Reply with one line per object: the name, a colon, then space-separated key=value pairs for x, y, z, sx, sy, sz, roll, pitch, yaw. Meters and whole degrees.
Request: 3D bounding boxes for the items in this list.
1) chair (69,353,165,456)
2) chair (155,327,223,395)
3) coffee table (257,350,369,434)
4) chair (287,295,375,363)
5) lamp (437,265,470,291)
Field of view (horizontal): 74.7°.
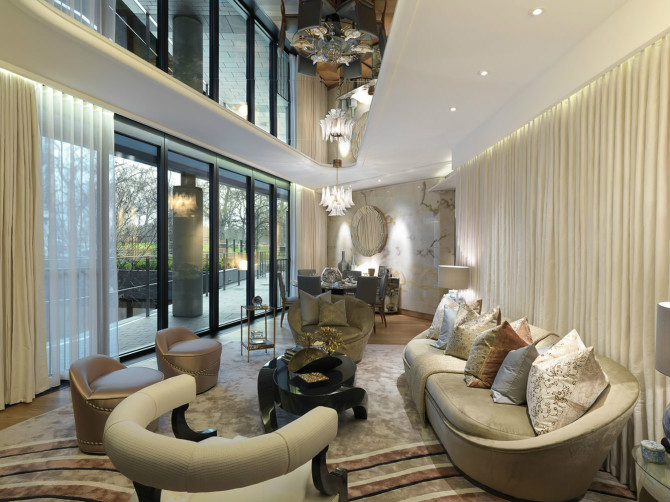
chair: x=-1.995 y=1.348 z=4.023 sx=0.751 sy=0.671 sz=0.781 roll=2 pitch=3 yaw=4
chair: x=-1.607 y=1.190 z=4.832 sx=0.673 sy=0.630 sz=0.625 roll=1 pitch=4 yaw=6
coffee table: x=-0.268 y=1.281 z=4.016 sx=0.733 sy=0.345 sz=0.730 roll=0 pitch=2 yaw=1
chair: x=-0.009 y=1.028 z=5.765 sx=1.020 sy=0.758 sz=0.850 roll=1 pitch=-12 yaw=-2
lamp: x=1.672 y=0.378 z=6.229 sx=0.371 sy=0.244 sz=0.357 roll=0 pitch=1 yaw=14
